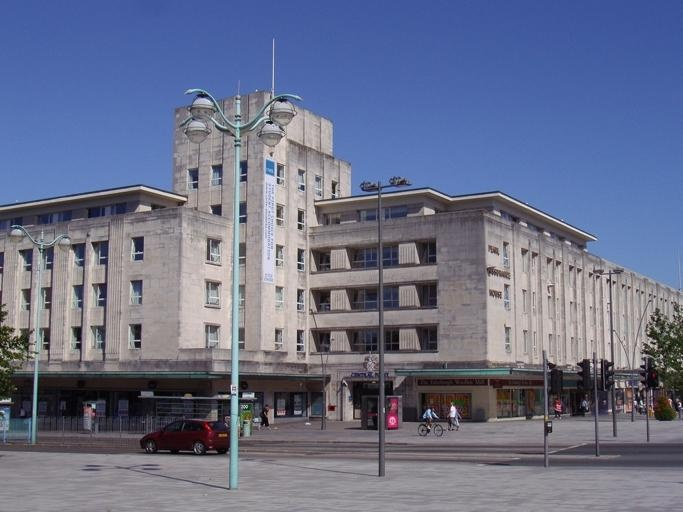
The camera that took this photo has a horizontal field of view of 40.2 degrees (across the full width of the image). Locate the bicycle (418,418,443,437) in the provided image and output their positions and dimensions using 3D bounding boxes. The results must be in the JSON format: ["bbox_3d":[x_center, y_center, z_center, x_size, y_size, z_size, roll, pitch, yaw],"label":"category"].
[{"bbox_3d":[5.871,11.454,62.356,1.938,1.209,1.027,-5,-12,22],"label":"bicycle"}]
